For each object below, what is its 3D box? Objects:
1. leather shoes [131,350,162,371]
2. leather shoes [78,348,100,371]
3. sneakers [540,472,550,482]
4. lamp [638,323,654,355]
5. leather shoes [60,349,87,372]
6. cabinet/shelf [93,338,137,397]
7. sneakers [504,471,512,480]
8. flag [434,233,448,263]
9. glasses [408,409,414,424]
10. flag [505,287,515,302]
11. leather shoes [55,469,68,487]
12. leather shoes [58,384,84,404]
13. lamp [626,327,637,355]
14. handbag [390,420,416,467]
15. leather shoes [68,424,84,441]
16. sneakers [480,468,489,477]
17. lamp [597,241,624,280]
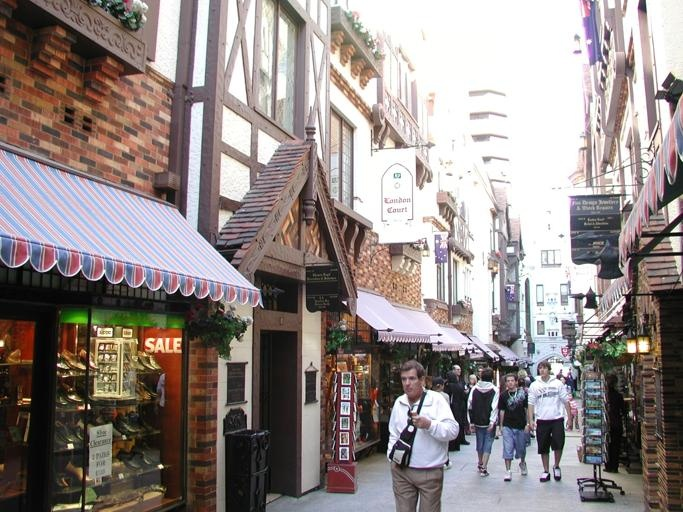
[{"bbox_3d":[-2.532,1.384,8.856,0.265,0.124,0.163,6,-8,30],"label":"leather shoes"},{"bbox_3d":[-2.979,1.210,8.028,0.090,0.261,0.127,-18,5,20],"label":"leather shoes"},{"bbox_3d":[3.880,4.214,12.928,0.107,0.160,0.344,-5,-17,21],"label":"sneakers"},{"bbox_3d":[5.149,1.425,11.580,0.234,0.574,0.277,6,-18,6],"label":"lamp"},{"bbox_3d":[-3.122,1.232,7.960,0.272,0.193,0.100,33,-36,-19],"label":"leather shoes"},{"bbox_3d":[-2.851,1.421,8.558,0.568,0.740,0.622,-1,-5,16],"label":"cabinet/shelf"},{"bbox_3d":[3.197,4.247,13.044,0.096,0.148,0.320,-5,-18,15],"label":"sneakers"},{"bbox_3d":[3.745,-0.356,25.517,0.542,1.165,0.325,-5,-12,18],"label":"flag"},{"bbox_3d":[0.782,1.819,7.626,0.021,0.109,0.071,5,5,-3],"label":"glasses"},{"bbox_3d":[12.472,2.852,50.349,0.900,0.526,1.592,17,-8,16],"label":"flag"},{"bbox_3d":[-3.182,2.558,7.800,0.137,0.162,0.104,-5,-23,41],"label":"leather shoes"},{"bbox_3d":[-3.159,1.619,7.912,0.214,0.092,0.142,17,0,14],"label":"leather shoes"},{"bbox_3d":[5.152,1.510,12.063,0.156,0.458,0.933,-6,-14,21],"label":"lamp"},{"bbox_3d":[0.737,2.151,7.736,0.190,0.526,0.425,5,-14,-31],"label":"handbag"},{"bbox_3d":[-3.084,2.066,7.932,0.127,0.185,0.219,16,-31,-28],"label":"leather shoes"},{"bbox_3d":[2.876,4.347,13.569,0.077,0.115,0.249,-5,-21,20],"label":"sneakers"},{"bbox_3d":[4.077,0.036,10.356,0.283,0.529,0.321,-1,-7,5],"label":"lamp"}]
